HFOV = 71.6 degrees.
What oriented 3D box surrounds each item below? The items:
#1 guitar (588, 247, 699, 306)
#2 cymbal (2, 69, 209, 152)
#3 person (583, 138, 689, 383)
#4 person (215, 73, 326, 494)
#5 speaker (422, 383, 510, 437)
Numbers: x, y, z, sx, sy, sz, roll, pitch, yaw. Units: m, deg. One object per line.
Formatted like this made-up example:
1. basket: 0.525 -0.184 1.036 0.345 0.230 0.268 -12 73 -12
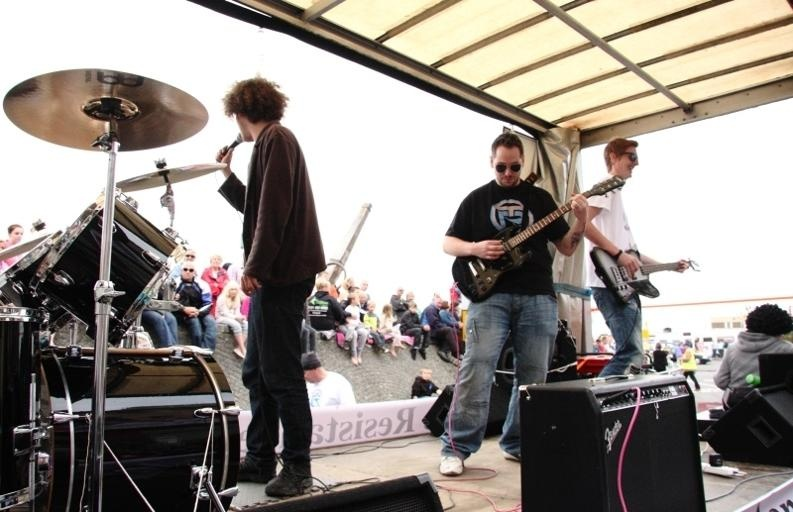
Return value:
1. guitar: 2.257 0.160 4.982 0.441 0.671 1.225 1 -2 -25
2. cymbal: -1.773 -0.811 3.346 1.178 0.339 0.756 -1 -8 10
3. person: 1.950 0.063 5.025 0.845 2.383 0.893 6 3 1
4. person: -0.826 0.138 3.546 0.615 2.649 0.529 -7 -11 41
5. speaker: 0.659 1.516 5.282 1.123 0.534 0.739 3 0 0
